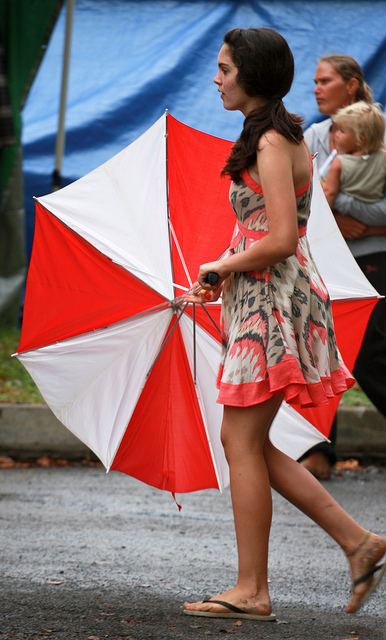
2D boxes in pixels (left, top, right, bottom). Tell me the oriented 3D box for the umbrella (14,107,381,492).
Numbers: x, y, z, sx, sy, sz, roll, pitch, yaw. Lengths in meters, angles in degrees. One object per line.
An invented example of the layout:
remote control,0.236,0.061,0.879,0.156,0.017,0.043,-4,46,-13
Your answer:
umbrella,-0.141,0.110,3.160,1.485,1.451,0.481,-51,14,-32

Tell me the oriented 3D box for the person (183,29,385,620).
person,0.275,0.028,2.388,0.648,1.737,0.554,2,-3,4

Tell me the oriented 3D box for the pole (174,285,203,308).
pole,-0.019,-0.086,2.744,0.117,0.019,0.022,-38,-24,18

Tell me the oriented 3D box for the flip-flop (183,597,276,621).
flip-flop,0.105,0.795,2.231,0.239,0.053,0.084,4,-10,11
